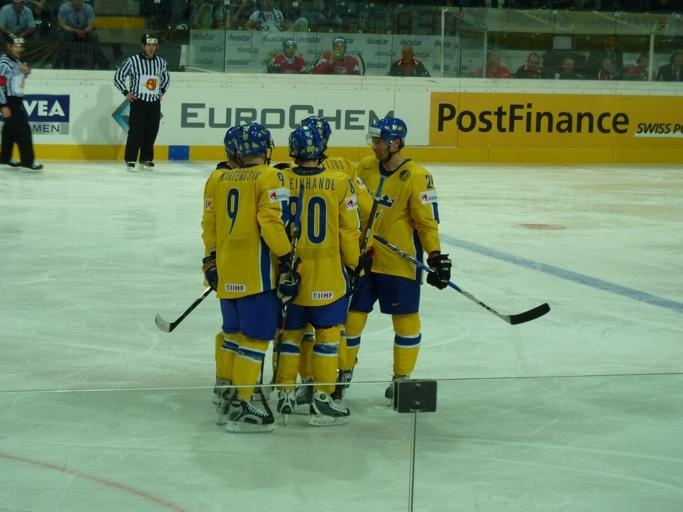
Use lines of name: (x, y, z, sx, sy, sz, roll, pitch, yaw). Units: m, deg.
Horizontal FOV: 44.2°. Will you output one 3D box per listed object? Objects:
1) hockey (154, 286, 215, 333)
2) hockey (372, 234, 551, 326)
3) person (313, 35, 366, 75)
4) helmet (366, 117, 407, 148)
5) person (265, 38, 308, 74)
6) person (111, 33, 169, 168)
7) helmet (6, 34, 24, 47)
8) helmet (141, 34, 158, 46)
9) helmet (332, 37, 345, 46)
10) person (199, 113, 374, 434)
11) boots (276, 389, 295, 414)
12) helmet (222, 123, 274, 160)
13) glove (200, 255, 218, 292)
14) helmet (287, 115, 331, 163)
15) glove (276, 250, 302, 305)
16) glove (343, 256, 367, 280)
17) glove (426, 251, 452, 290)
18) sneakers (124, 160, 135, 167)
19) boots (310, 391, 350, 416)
hockey: (-0.890, 0.325, 4.648, 0.209, 0.177, 0.666, 22, -15, -12)
hockey: (0.810, 0.185, 5.597, 0.916, 0.076, 0.294, 27, 24, 0)
person: (-0.087, -3.702, 14.763, 1.112, 0.885, 0.575, -2, 17, -6)
helmet: (0.235, -0.650, 4.415, 0.202, 0.168, 0.152, 4, 2, -5)
person: (-0.999, -3.456, 14.383, 0.662, 0.832, 0.291, 0, 10, -12)
person: (-2.990, -2.311, 12.563, 0.704, 1.967, 0.444, -8, 17, -38)
helmet: (-4.471, -2.937, 11.520, 0.274, 0.114, 0.364, 2, 13, -16)
helmet: (-2.847, -3.200, 12.399, 0.179, 0.152, 0.250, 2, 13, -1)
helmet: (-0.081, -3.714, 14.483, 0.177, 0.080, 0.198, 0, 1, 0)
person: (-0.284, 0.026, 4.018, 0.750, 1.281, 0.607, 0, 14, -10)
boots: (-0.228, 0.598, 3.421, 0.073, 0.101, 0.064, 1, 14, -5)
helmet: (-0.439, -0.558, 4.090, 0.178, 0.194, 0.219, 2, 7, 27)
glove: (-0.644, 0.083, 4.156, 0.063, 0.155, 0.125, -7, -4, 7)
helmet: (-0.157, -0.575, 4.105, 0.191, 0.205, 0.232, 1, 17, -7)
glove: (-0.250, 0.097, 3.863, 0.095, 0.202, 0.166, 10, -12, -42)
glove: (0.084, 0.061, 4.205, 0.095, 0.097, 0.123, 9, 4, 30)
glove: (0.486, 0.068, 4.333, 0.146, 0.177, 0.102, 0, -5, -25)
sneakers: (-3.169, -1.375, 12.551, 0.059, 0.070, 0.187, -4, 12, -27)
boots: (-0.061, 0.628, 3.538, 0.208, 0.124, 0.065, 0, 4, -7)
